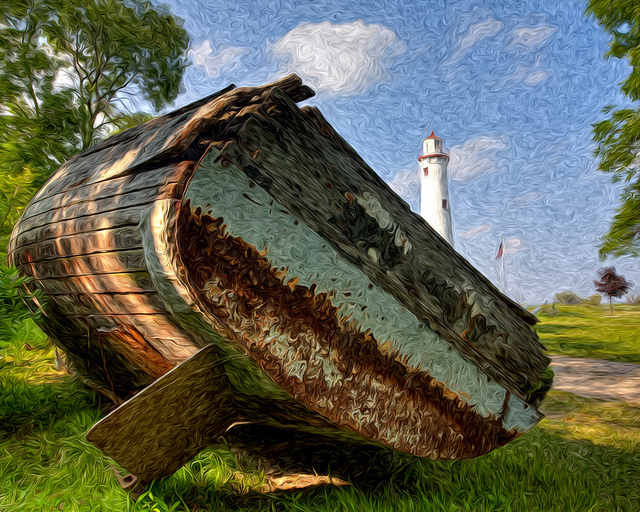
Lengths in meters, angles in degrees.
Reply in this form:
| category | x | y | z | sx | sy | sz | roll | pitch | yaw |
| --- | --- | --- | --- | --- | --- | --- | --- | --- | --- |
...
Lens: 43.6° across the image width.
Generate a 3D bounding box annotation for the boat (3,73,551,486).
| category | x | y | z | sx | sy | sz | roll | pitch | yaw |
| --- | --- | --- | --- | --- | --- | --- | --- | --- | --- |
| boat | -1.565 | 0.360 | 11.530 | 5.923 | 3.032 | 5.935 | 37 | -14 | -23 |
